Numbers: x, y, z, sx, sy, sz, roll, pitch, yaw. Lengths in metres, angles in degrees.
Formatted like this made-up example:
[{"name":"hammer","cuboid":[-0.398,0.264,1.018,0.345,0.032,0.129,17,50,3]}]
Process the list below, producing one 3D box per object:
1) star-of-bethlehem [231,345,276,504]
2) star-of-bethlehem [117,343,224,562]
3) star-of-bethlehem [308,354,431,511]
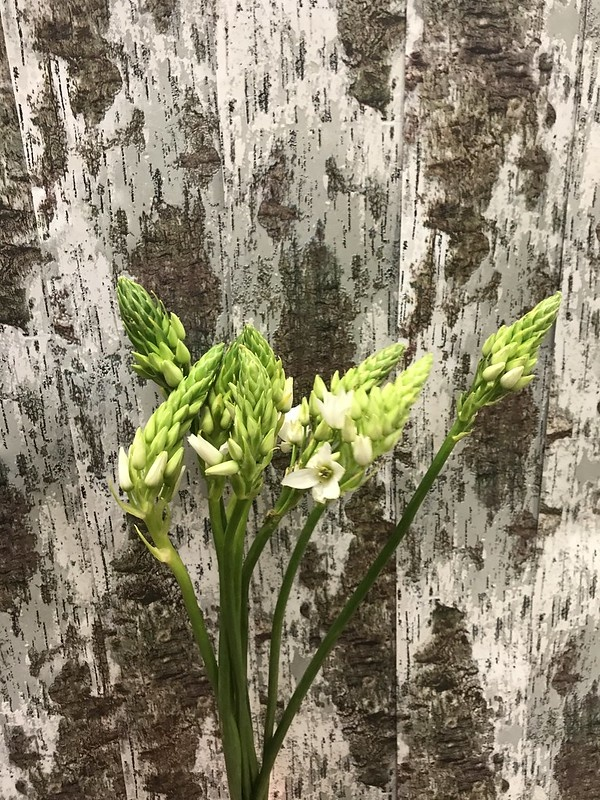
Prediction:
[{"name":"star-of-bethlehem","cuboid":[-0.045,0.014,0.823,0.046,0.156,0.057,0,-14,-2]},{"name":"star-of-bethlehem","cuboid":[-0.131,0.045,0.827,0.092,0.220,0.122,-5,-14,17]},{"name":"star-of-bethlehem","cuboid":[0.071,0.012,0.845,0.123,0.154,0.063,-3,-14,8]}]
